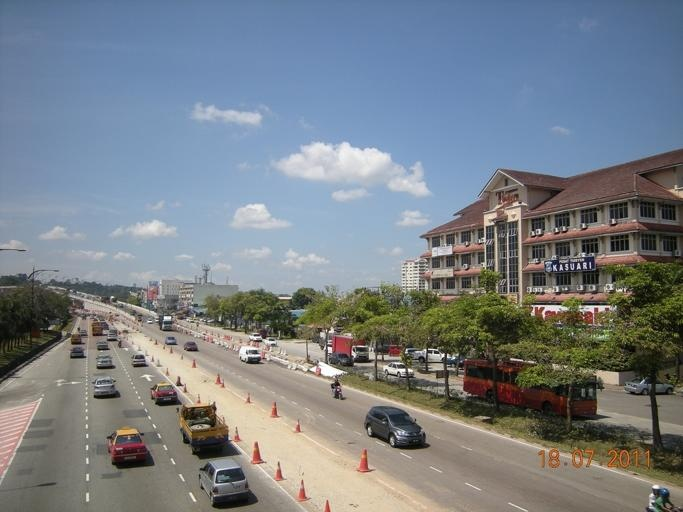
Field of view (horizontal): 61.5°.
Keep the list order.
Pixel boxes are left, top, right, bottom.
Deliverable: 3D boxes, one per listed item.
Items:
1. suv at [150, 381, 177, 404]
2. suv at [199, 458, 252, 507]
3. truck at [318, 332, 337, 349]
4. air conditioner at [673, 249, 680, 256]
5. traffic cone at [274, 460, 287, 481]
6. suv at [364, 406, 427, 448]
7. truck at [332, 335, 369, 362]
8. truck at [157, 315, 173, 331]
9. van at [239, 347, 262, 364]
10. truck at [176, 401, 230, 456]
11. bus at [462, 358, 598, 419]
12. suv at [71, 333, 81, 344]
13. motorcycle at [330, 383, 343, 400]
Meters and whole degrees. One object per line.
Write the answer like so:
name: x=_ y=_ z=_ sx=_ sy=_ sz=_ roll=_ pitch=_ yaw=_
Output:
suv: x=-16.005 y=12.222 z=51.265 sx=1.271 sy=1.052 sz=2.819 roll=2 pitch=1 yaw=-21
suv: x=-6.739 y=13.157 z=33.786 sx=2.873 sy=2.167 sz=2.482 roll=0 pitch=-6 yaw=-15
truck: x=-2.061 y=13.772 z=93.062 sx=3.100 sy=3.020 sz=4.947 roll=2 pitch=-1 yaw=-8
air conditioner: x=38.501 y=-0.314 z=65.864 sx=0.687 sy=0.711 sz=0.727 roll=-3 pitch=-7 yaw=25
traffic cone: x=-3.892 y=13.482 z=35.854 sx=0.763 sy=1.062 sz=0.771 roll=3 pitch=-7 yaw=-37
suv: x=3.895 y=12.392 z=41.580 sx=2.089 sy=2.057 sz=4.544 roll=-2 pitch=3 yaw=-35
truck: x=0.913 y=12.448 z=77.168 sx=2.977 sy=3.344 sz=5.804 roll=3 pitch=-9 yaw=-28
truck: x=-42.917 y=16.535 z=141.620 sx=2.948 sy=3.998 sz=8.543 roll=3 pitch=-3 yaw=-20
van: x=-12.952 y=13.988 z=80.680 sx=1.683 sy=1.485 sz=3.149 roll=3 pitch=-11 yaw=-26
truck: x=-9.576 y=12.024 z=39.763 sx=2.381 sy=2.741 sz=3.632 roll=-2 pitch=3 yaw=-30
bus: x=15.241 y=11.264 z=52.764 sx=4.328 sy=4.178 sz=14.963 roll=2 pitch=-6 yaw=-27
suv: x=-47.458 y=14.924 z=102.327 sx=1.469 sy=1.414 sz=2.539 roll=1 pitch=3 yaw=-33
motorcycle: x=-0.468 y=12.828 z=55.311 sx=1.035 sy=1.605 sz=2.953 roll=0 pitch=2 yaw=-4
